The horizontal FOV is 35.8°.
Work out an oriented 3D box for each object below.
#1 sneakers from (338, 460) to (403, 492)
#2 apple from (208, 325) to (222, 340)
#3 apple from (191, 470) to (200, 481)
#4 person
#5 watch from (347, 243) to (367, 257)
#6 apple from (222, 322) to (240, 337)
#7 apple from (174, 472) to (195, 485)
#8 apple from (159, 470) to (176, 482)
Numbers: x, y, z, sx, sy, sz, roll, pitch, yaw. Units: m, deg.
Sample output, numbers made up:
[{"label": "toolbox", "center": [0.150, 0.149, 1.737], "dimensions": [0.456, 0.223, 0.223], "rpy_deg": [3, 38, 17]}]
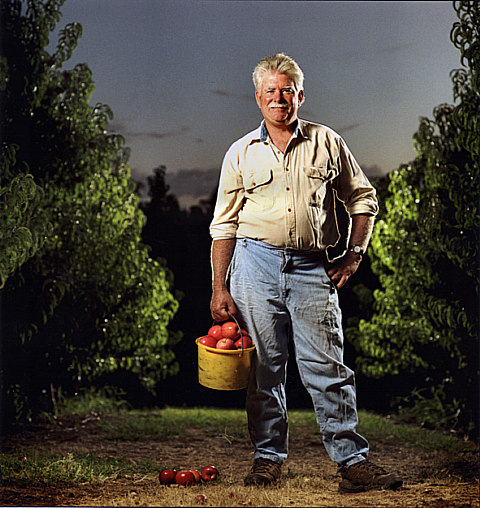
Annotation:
[{"label": "sneakers", "center": [0.844, 1.396, 4.784], "dimensions": [0.393, 0.213, 0.197], "rpy_deg": [-5, -6, 12]}, {"label": "apple", "center": [-0.151, 0.503, 4.808], "dimensions": [0.077, 0.106, 0.085], "rpy_deg": [12, -39, -4]}, {"label": "apple", "center": [-0.294, 1.495, 5.028], "dimensions": [0.041, 0.064, 0.059], "rpy_deg": [8, 20, 15]}, {"label": "person", "center": [0.355, 0.126, 4.773], "dimensions": [1.112, 2.764, 0.365], "rpy_deg": [2, 7, 8]}, {"label": "watch", "center": [0.744, -0.023, 4.739], "dimensions": [0.082, 0.058, 0.090], "rpy_deg": [2, -3, 14]}, {"label": "apple", "center": [-0.061, 0.484, 4.727], "dimensions": [0.086, 0.103, 0.091], "rpy_deg": [1, 9, 5]}, {"label": "apple", "center": [-0.366, 1.499, 4.948], "dimensions": [0.083, 0.094, 0.089], "rpy_deg": [0, -10, -5]}, {"label": "apple", "center": [-0.487, 1.498, 4.998], "dimensions": [0.074, 0.085, 0.081], "rpy_deg": [-4, 1, 0]}]
